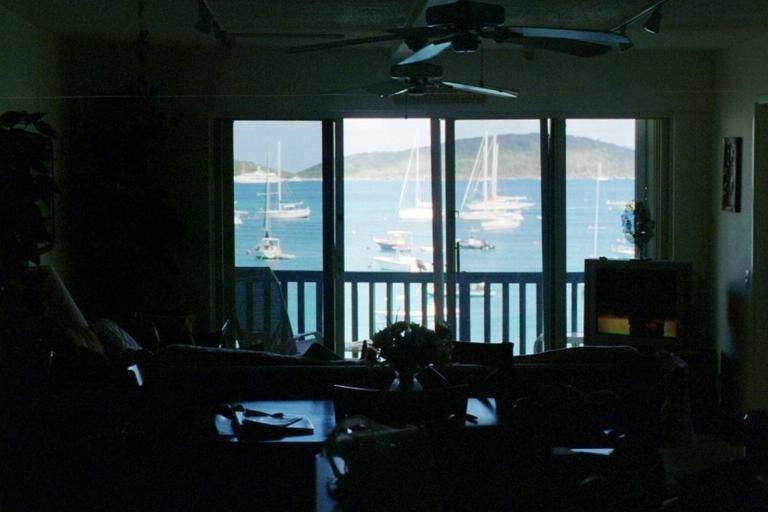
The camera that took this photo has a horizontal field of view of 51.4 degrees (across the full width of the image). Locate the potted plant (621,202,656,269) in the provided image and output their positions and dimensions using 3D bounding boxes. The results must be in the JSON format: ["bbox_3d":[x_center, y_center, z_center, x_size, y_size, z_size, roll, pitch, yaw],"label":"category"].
[{"bbox_3d":[1.227,-0.121,3.853,0.068,0.284,0.192,-3,5,-44],"label":"potted plant"}]

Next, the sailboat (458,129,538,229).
[{"bbox_3d":[0.554,-0.394,4.325,0.287,0.507,0.093,2,4,23],"label":"sailboat"}]

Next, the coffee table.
[{"bbox_3d":[-0.381,0.670,3.138,0.875,0.165,0.225,1,4,2],"label":"coffee table"}]

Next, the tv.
[{"bbox_3d":[1.212,0.248,3.939,0.646,0.605,0.357,-1,-11,26],"label":"tv"}]

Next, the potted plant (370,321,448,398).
[{"bbox_3d":[0.094,0.406,3.153,0.260,0.269,0.263,2,-1,-10],"label":"potted plant"}]
